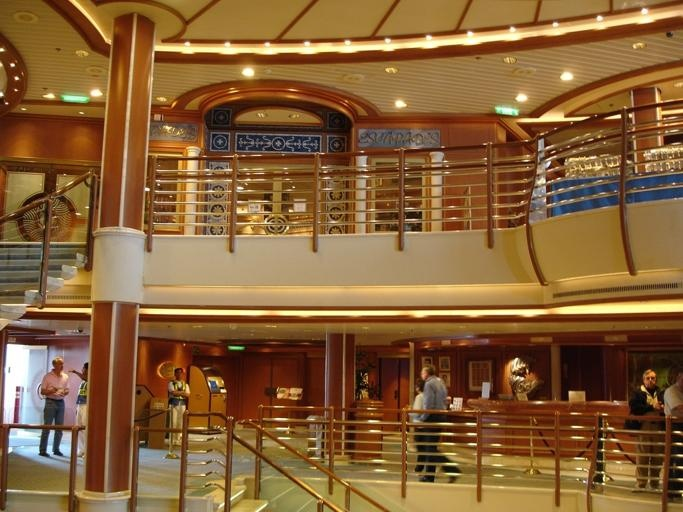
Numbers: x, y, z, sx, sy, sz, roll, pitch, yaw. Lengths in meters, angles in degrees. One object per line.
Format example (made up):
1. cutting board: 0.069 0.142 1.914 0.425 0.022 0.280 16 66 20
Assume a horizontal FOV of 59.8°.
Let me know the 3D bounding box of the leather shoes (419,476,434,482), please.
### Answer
1. leather shoes: 1.351 3.539 9.365 0.235 0.133 0.069 0 -18 -1

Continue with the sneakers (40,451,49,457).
1. sneakers: -5.263 3.550 10.613 0.209 0.068 0.073 -1 -7 27
